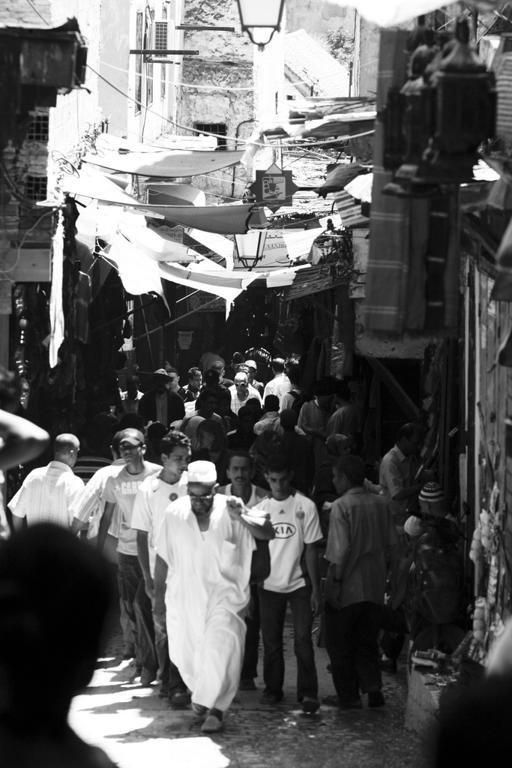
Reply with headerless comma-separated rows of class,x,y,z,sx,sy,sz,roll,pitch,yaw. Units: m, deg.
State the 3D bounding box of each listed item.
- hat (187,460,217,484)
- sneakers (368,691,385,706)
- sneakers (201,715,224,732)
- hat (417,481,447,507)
hat,-0.352,0.564,7.092,0.151,0.114,0.154,2,3,-5
sneakers,0.837,2.162,7.521,0.151,0.100,0.113,3,2,-16
sneakers,-0.272,2.113,6.818,0.151,0.073,0.109,3,2,-11
hat,1.249,0.782,7.796,0.152,0.121,0.155,2,11,27
